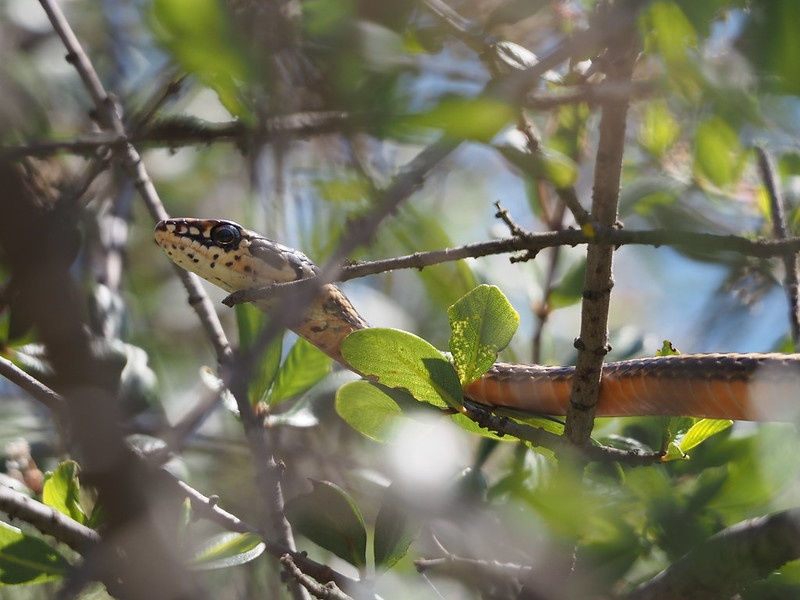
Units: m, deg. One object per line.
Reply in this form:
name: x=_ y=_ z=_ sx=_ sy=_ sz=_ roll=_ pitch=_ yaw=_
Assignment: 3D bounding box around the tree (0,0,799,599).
tree: x=0.087 y=0.007 z=2.641 sx=2.119 sy=0.691 sz=1.457 roll=5 pitch=-4 yaw=0
